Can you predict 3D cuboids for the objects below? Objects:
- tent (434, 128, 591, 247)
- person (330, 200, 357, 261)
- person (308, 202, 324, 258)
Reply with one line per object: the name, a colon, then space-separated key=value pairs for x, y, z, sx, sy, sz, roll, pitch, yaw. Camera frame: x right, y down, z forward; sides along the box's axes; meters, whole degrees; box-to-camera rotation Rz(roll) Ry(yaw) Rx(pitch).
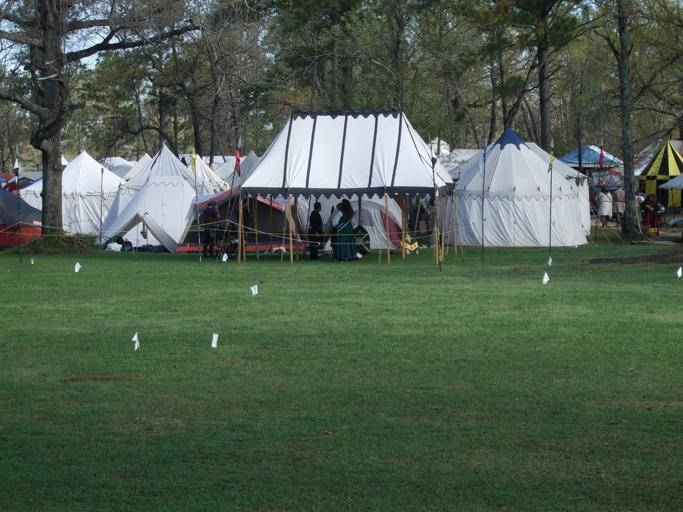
tent: x=6.808 y=-2.389 z=54.736 sx=4.419 sy=3.129 sz=4.444 roll=3 pitch=9 yaw=30
person: x=0.116 y=-0.827 z=48.530 sx=0.833 sy=2.116 sz=0.638 roll=0 pitch=-1 yaw=-14
person: x=-0.919 y=-0.851 z=49.400 sx=0.520 sy=1.936 sz=1.380 roll=0 pitch=-1 yaw=-1
